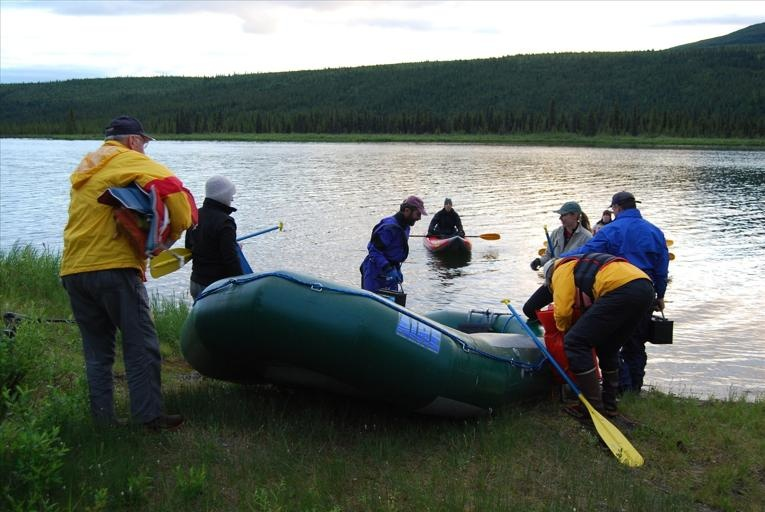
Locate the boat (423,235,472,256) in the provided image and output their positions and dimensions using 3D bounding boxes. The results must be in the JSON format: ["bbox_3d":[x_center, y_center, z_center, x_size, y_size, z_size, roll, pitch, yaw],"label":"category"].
[{"bbox_3d":[1.696,-0.380,21.197,1.267,0.613,0.711,11,16,38],"label":"boat"}]

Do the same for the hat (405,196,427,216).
[{"bbox_3d":[0.523,-0.786,11.724,0.388,0.195,0.258,25,13,-16],"label":"hat"}]

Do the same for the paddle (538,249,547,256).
[{"bbox_3d":[3.543,-0.097,16.770,0.255,0.058,0.250,-17,2,-44],"label":"paddle"}]

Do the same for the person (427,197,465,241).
[{"bbox_3d":[1.836,-1.021,21.640,1.090,1.172,1.884,0,7,-1],"label":"person"}]

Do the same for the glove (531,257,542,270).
[{"bbox_3d":[2.440,0.115,12.042,0.187,0.147,0.322,-16,-11,11],"label":"glove"}]

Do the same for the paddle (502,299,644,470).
[{"bbox_3d":[2.384,1.673,9.590,0.291,2.427,0.188,-35,-20,-7],"label":"paddle"}]

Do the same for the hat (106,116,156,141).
[{"bbox_3d":[-2.963,-1.508,8.789,0.506,0.244,0.352,-6,13,-34],"label":"hat"}]

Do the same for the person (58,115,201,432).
[{"bbox_3d":[-2.956,0.225,8.630,1.410,3.430,0.904,-1,13,-10],"label":"person"}]

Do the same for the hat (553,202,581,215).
[{"bbox_3d":[2.897,-0.766,11.878,0.386,0.184,0.242,-1,7,-4],"label":"hat"}]

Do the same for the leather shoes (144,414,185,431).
[{"bbox_3d":[-2.533,1.913,8.692,0.396,0.170,0.150,-10,24,-18],"label":"leather shoes"}]

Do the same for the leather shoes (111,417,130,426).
[{"bbox_3d":[-3.031,1.918,8.693,0.106,0.033,0.123,9,-2,-3],"label":"leather shoes"}]
